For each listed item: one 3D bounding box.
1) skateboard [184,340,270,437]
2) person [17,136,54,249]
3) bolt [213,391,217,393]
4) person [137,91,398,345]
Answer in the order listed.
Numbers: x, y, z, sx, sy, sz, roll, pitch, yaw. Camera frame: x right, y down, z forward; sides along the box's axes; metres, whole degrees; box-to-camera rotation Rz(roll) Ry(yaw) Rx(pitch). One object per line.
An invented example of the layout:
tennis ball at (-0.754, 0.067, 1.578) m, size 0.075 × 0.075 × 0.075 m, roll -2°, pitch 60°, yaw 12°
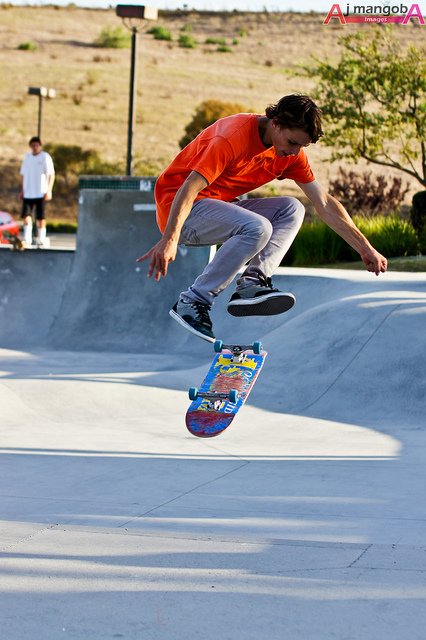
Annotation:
skateboard at (0.059, 0.348, 5.297) m, size 0.255 × 0.114 × 0.819 m, roll 8°, pitch 31°, yaw 20°
person at (-2.045, -1.466, 11.632) m, size 0.366 × 1.277 × 0.990 m, roll 1°, pitch 9°, yaw -11°
bolt at (0.008, 0.376, 5.249) m, size 0.015 × 0.004 × 0.032 m, roll 1°, pitch 7°, yaw -8°
person at (0.288, -0.518, 5.243) m, size 1.733 × 1.138 × 0.885 m, roll 0°, pitch 5°, yaw -26°
